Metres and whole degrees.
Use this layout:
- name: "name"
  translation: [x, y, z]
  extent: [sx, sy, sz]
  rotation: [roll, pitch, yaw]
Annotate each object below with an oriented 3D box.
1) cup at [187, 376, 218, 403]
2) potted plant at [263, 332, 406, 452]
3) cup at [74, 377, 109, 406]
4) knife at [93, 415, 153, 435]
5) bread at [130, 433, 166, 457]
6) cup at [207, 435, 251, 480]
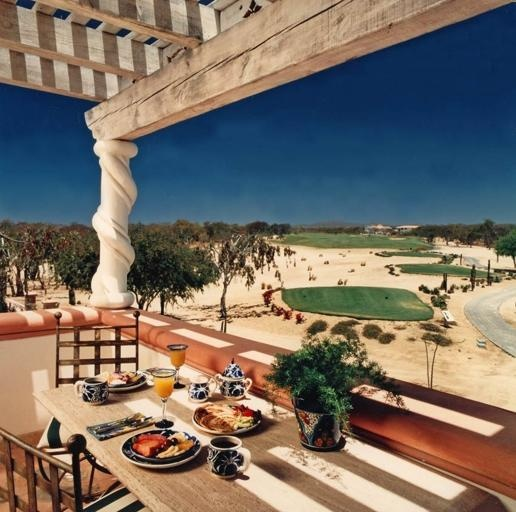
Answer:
- name: "cup"
  translation: [-0.214, 0.535, 1.567]
  extent: [0.108, 0.067, 0.071]
  rotation: [9, -11, -43]
- name: "potted plant"
  translation: [0.198, 0.442, 1.175]
  extent: [0.277, 0.229, 0.276]
  rotation: [5, -24, 4]
- name: "cup"
  translation: [-0.668, 0.544, 1.613]
  extent: [0.140, 0.076, 0.088]
  rotation: [3, 3, 27]
- name: "knife"
  translation: [-0.454, 0.569, 1.327]
  extent: [0.068, 0.013, 0.119]
  rotation: [2, -1, 40]
- name: "bread"
  translation: [-0.313, 0.534, 1.128]
  extent: [0.054, 0.012, 0.050]
  rotation: [4, 9, 24]
- name: "cup"
  translation: [-0.065, 0.534, 1.040]
  extent: [0.136, 0.074, 0.084]
  rotation: [3, -3, 21]
